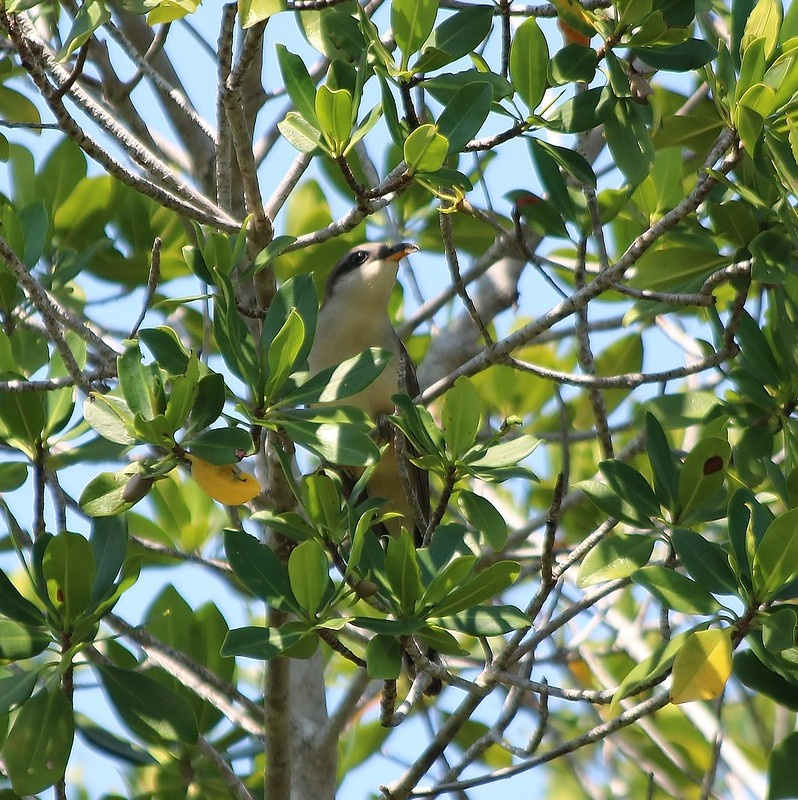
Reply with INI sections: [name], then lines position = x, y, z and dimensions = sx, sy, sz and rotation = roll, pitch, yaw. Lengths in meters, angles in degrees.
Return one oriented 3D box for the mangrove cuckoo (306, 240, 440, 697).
[mangrove cuckoo]
position = 0.060, 0.304, 6.545
dimensions = 0.503, 0.906, 1.924
rotation = -6, -76, -9
